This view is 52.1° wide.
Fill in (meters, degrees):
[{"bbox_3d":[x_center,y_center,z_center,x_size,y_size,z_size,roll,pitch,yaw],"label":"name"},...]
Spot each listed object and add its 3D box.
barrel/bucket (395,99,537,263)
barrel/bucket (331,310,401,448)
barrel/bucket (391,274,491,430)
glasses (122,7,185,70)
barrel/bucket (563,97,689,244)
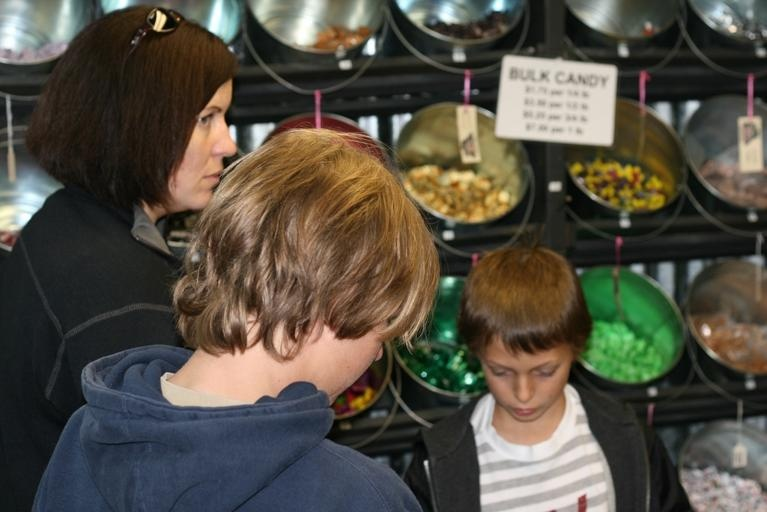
[{"bbox_3d":[0.406,-0.160,3.385,0.558,0.596,0.242,7,85,16],"label":"barrel/bucket"},{"bbox_3d":[-0.018,0.525,3.274,0.398,0.172,0.417,2,93,29],"label":"barrel/bucket"},{"bbox_3d":[0.219,0.365,3.202,0.444,0.204,0.564,-21,74,-8],"label":"barrel/bucket"},{"bbox_3d":[-0.688,-0.686,2.366,0.211,0.057,0.108,-45,51,-5],"label":"glasses"},{"bbox_3d":[1.070,-0.385,3.486,0.239,0.622,0.603,-14,48,-1],"label":"barrel/bucket"}]
